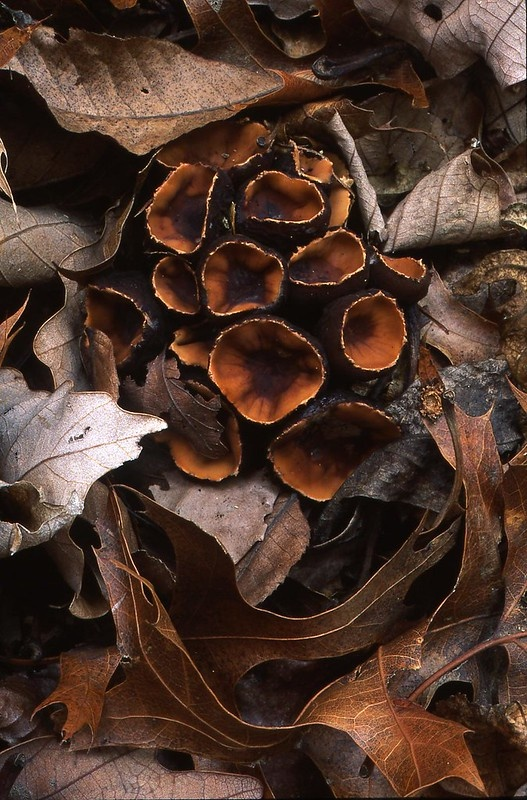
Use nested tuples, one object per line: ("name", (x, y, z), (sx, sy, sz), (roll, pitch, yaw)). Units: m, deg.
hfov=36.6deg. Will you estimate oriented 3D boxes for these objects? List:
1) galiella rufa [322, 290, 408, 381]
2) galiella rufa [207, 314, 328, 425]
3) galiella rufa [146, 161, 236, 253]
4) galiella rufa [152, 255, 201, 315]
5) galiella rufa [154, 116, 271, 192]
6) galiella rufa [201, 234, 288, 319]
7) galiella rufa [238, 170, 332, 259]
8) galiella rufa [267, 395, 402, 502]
("galiella rufa", (0.223, -0.141, 1.752), (0.198, 0.179, 0.125), (-8, 34, -6))
("galiella rufa", (0.013, -0.074, 1.744), (0.237, 0.229, 0.138), (12, 37, 22))
("galiella rufa", (-0.168, -0.419, 1.752), (0.152, 0.164, 0.162), (14, 38, 24))
("galiella rufa", (-0.208, -0.245, 1.789), (0.114, 0.128, 0.040), (-21, 0, -31))
("galiella rufa", (-0.128, -0.617, 1.928), (0.278, 0.101, 0.305), (0, 5, -16))
("galiella rufa", (-0.045, -0.270, 1.722), (0.182, 0.147, 0.115), (-6, 34, -4))
("galiella rufa", (0.042, -0.417, 1.763), (0.202, 0.157, 0.119), (2, 35, 8))
("galiella rufa", (0.160, 0.085, 1.856), (0.280, 0.219, 0.096), (-30, 23, 17))
